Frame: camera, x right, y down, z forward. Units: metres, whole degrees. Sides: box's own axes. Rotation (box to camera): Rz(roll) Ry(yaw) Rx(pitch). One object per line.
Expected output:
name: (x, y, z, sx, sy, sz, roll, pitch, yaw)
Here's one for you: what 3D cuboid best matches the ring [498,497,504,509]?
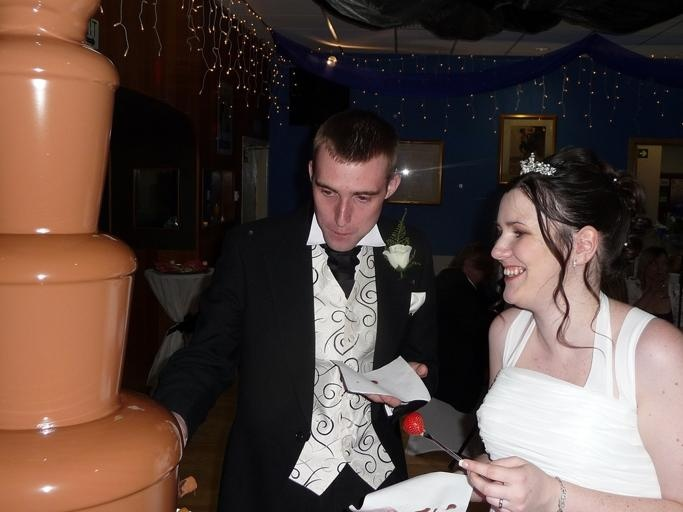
ring: (0.412, 0.640, 1.476, 0.013, 0.038, 0.024, 3, 9, 15)
